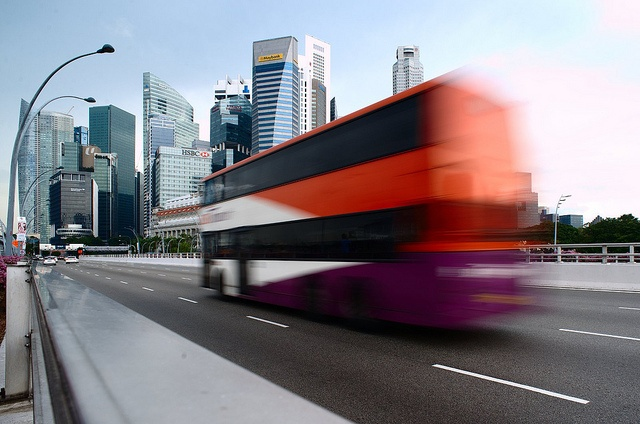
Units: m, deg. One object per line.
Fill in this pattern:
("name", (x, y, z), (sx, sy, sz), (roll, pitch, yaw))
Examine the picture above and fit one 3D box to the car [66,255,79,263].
("car", (-38.875, 7.381, 67.973), (1.317, 0.961, 2.839), (0, 3, -33))
